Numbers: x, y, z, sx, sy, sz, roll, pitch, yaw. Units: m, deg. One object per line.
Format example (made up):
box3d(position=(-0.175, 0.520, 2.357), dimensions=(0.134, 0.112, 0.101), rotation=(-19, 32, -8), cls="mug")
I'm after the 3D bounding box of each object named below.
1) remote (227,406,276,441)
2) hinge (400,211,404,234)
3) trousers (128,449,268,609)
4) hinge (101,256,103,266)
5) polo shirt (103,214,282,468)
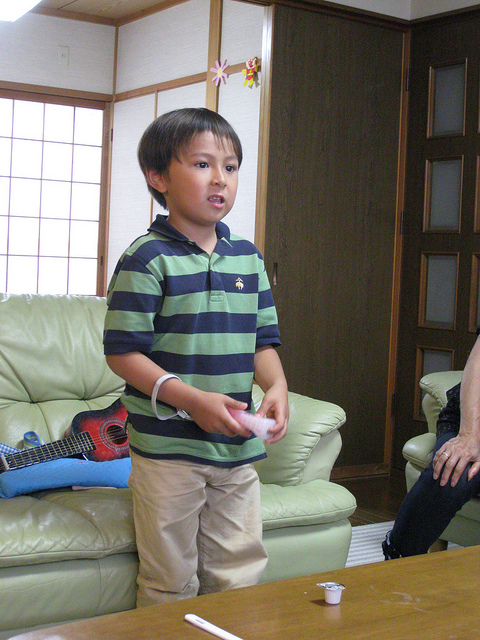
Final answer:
box3d(position=(0.023, 0.170, 0.887), dimensions=(0.053, 0.053, 0.096), rotation=(-5, -12, 31), cls="remote")
box3d(position=(0.990, -0.592, 3.332), dimensions=(0.022, 0.133, 0.026), rotation=(3, -11, -11), cls="hinge")
box3d(position=(-0.068, 0.390, 1.052), dimensions=(0.237, 0.395, 0.131), rotation=(5, -1, -17), cls="trousers")
box3d(position=(-1.397, -0.595, 5.494), dimensions=(0.018, 0.084, 0.032), rotation=(4, -11, -13), cls="hinge")
box3d(position=(-0.076, 0.027, 1.009), dimensions=(0.329, 0.485, 0.234), rotation=(2, -10, -5), cls="polo shirt")
